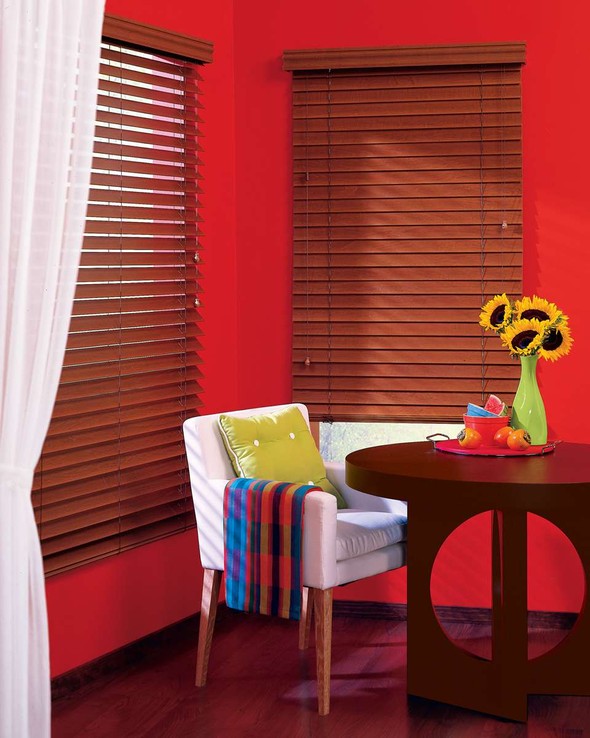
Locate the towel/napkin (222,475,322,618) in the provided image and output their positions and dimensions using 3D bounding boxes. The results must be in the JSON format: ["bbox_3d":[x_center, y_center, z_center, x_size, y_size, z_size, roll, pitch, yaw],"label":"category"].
[{"bbox_3d":[-0.078,0.548,2.149,0.329,0.405,0.081,-1,-2,35],"label":"towel/napkin"}]

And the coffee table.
[{"bbox_3d":[0.537,0.603,2.109,0.772,0.632,0.750,-1,-1,-42],"label":"coffee table"}]

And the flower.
[{"bbox_3d":[0.737,-0.143,2.227,0.275,0.213,0.119,-1,-2,18],"label":"flower"}]

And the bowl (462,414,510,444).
[{"bbox_3d":[0.619,0.193,2.253,0.108,0.069,0.111,1,-6,0],"label":"bowl"}]
